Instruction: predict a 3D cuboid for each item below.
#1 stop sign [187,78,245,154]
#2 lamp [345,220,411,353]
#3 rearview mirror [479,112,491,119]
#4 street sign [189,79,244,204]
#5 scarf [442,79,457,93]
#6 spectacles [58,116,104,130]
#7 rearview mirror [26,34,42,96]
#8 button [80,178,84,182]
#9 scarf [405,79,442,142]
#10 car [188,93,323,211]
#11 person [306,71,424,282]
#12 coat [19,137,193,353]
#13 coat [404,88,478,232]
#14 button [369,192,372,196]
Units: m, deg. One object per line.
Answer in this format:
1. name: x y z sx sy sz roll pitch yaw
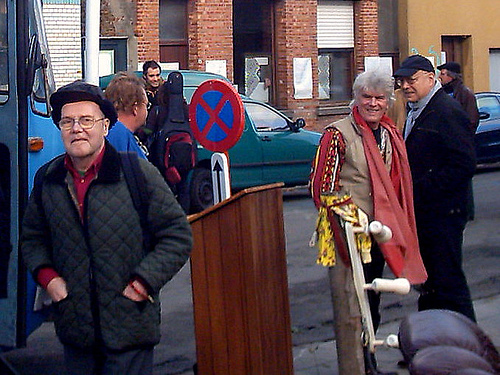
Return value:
1. stop sign: -0.305 -0.632 9.201 0.174 0.645 0.748 -7 10 -35
2. lamp: 0.798 0.661 6.884 0.391 0.945 0.514 3 10 3
3. rearview mirror: 4.245 -1.306 18.849 0.178 0.120 0.387 4 12 36
4. street sign: -0.277 -0.400 9.258 0.332 1.125 0.783 -5 9 -23
5. scarf: 2.580 -1.309 13.373 0.140 0.111 0.143 -12 4 43
6. spectacles: -1.096 -0.422 6.742 0.273 0.081 0.086 -4 9 -6
7. rearview mirror: -1.626 -0.922 7.771 0.092 0.417 0.075 -5 11 0
8. button: -1.086 -0.045 6.713 0.020 0.024 0.007 1 -3 -2
9. scarf: 1.399 -0.660 8.479 0.446 0.109 0.325 -54 -10 31
10. car: 0.001 -0.534 15.729 2.170 1.187 1.191 -11 10 -38
11. person: 0.874 -0.059 7.809 0.850 1.582 2.068 0 9 12
12. coat: -0.953 0.358 6.888 1.083 1.456 0.672 -1 1 11
13. coat: 1.535 -0.198 8.317 0.497 1.148 0.481 8 15 31
14. button: 0.908 0.048 7.748 0.024 0.028 0.007 3 -3 0
